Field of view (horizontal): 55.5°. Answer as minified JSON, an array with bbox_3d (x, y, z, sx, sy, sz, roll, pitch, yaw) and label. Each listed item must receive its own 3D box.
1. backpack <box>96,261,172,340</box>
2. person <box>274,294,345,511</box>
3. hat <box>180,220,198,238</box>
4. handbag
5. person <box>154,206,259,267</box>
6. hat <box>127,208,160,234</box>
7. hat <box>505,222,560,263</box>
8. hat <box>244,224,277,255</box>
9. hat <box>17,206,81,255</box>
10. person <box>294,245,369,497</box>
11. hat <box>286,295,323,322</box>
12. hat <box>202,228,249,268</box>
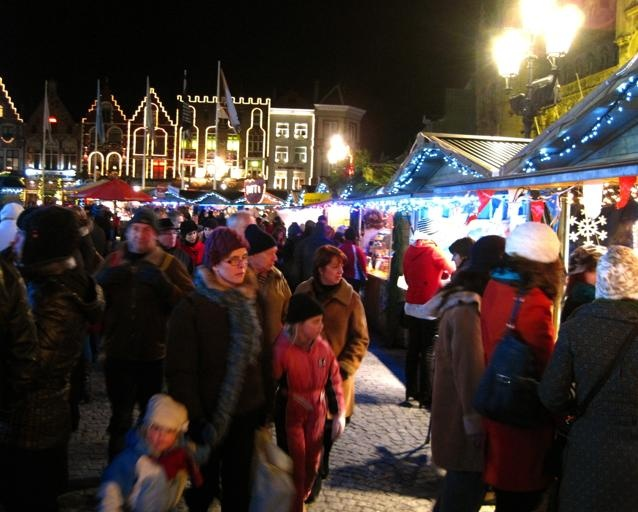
[{"bbox_3d":[-1.592,0.413,5.207,0.691,0.914,0.472,2,4,-13],"label":"backpack"},{"bbox_3d":[-0.097,1.010,4.412,0.387,1.480,0.641,5,5,28],"label":"person"},{"bbox_3d":[-1.897,-0.390,8.711,0.220,0.194,0.181,-25,-9,25],"label":"hat"},{"bbox_3d":[1.058,0.703,3.715,0.394,0.640,0.595,18,-4,42],"label":"handbag"},{"bbox_3d":[-1.445,-0.173,7.685,1.129,0.492,0.863,-6,9,-20],"label":"person"},{"bbox_3d":[-1.500,-0.327,5.239,0.183,0.171,0.207,7,-13,-9],"label":"hat"},{"bbox_3d":[1.364,-0.074,3.889,0.255,0.224,0.265,5,-1,-23],"label":"hat"},{"bbox_3d":[-0.504,-0.142,4.878,0.236,0.198,0.186,-24,1,14],"label":"hat"},{"bbox_3d":[-1.712,-0.161,3.851,0.302,0.332,0.254,-2,6,-17],"label":"hat"},{"bbox_3d":[-0.012,1.001,5.275,0.718,2.161,0.600,6,6,13],"label":"person"},{"bbox_3d":[-0.112,0.412,4.348,0.197,0.163,0.199,16,-25,-43],"label":"hat"},{"bbox_3d":[-0.625,-0.087,3.944,0.269,0.259,0.272,-2,20,16],"label":"hat"}]
